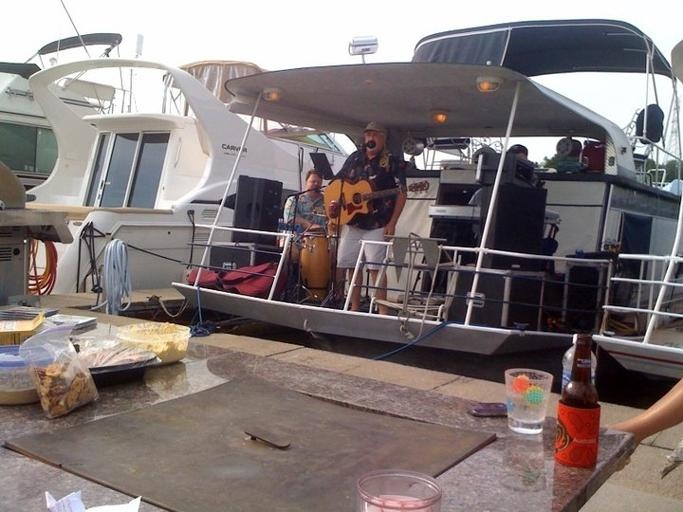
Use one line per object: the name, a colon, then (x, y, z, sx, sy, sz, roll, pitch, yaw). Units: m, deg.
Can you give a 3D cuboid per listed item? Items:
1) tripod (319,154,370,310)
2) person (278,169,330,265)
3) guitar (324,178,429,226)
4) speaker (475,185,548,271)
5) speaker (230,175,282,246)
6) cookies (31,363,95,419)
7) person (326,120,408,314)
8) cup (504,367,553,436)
tripod: (0.043, -0.286, 5.475, 0.598, 1.669, 0.527, 3, 14, 8)
person: (-0.525, -0.629, 6.900, 0.730, 1.369, 0.649, -4, 17, -26)
guitar: (0.205, -0.583, 5.310, 0.838, 0.538, 0.370, 3, 5, 6)
speaker: (1.716, -0.330, 5.219, 0.594, 0.925, 0.668, 9, 12, 42)
speaker: (-1.145, -0.671, 6.912, 0.657, 0.995, 0.685, -4, 17, -45)
cookies: (-0.847, 0.406, 1.489, 0.170, 0.147, 0.059, -5, -3, -42)
person: (0.215, -0.368, 5.270, 0.885, 2.053, 0.772, 9, 15, 29)
cup: (0.563, 0.429, 1.491, 0.152, 0.186, 0.133, 3, -1, -24)
